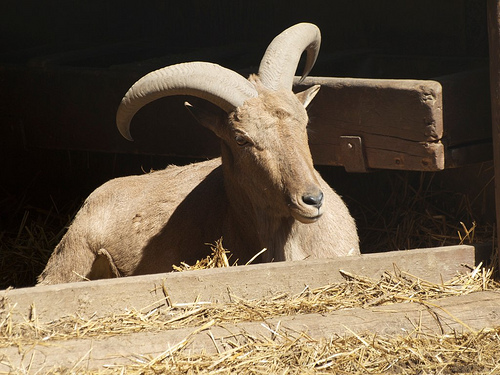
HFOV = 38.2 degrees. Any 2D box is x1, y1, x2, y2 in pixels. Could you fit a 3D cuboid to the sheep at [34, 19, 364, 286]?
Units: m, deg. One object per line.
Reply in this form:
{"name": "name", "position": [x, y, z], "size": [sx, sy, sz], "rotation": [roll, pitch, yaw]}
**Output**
{"name": "sheep", "position": [-0.467, -0.226, 7.017], "size": [2.860, 2.563, 1.340], "rotation": [3, 11, 31]}
